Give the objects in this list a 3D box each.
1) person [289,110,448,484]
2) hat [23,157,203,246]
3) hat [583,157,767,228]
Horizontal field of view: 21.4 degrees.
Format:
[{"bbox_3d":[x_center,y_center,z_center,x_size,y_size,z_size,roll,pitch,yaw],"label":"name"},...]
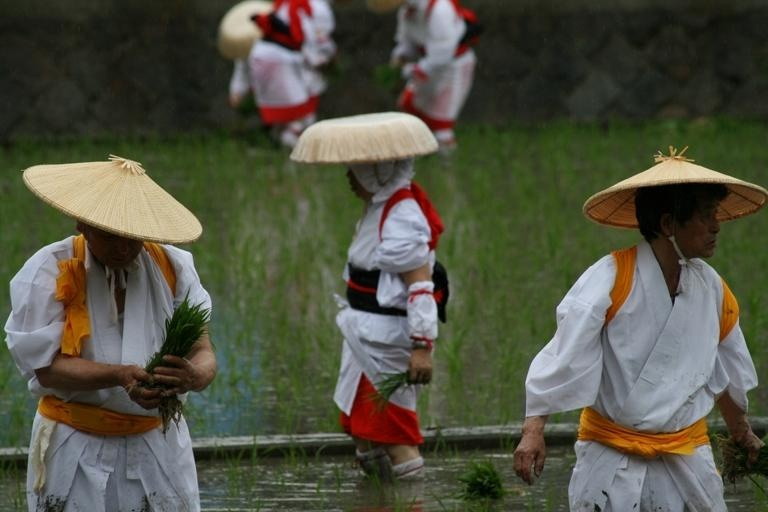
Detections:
[{"bbox_3d":[0.035,0.385,18.350,1.156,3.283,0.725,-3,8,2],"label":"person"},{"bbox_3d":[-2.259,-0.470,17.458,0.980,0.290,0.975,31,19,12],"label":"hat"},{"bbox_3d":[2.445,-0.579,17.805,0.933,0.359,0.906,1,-9,-24],"label":"hat"}]
